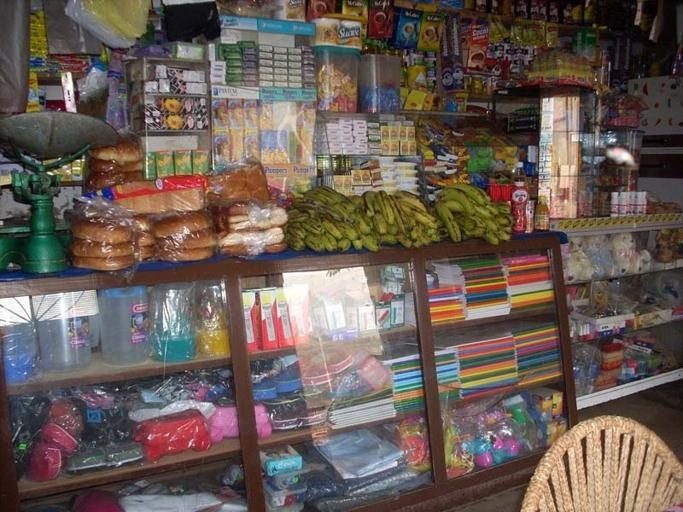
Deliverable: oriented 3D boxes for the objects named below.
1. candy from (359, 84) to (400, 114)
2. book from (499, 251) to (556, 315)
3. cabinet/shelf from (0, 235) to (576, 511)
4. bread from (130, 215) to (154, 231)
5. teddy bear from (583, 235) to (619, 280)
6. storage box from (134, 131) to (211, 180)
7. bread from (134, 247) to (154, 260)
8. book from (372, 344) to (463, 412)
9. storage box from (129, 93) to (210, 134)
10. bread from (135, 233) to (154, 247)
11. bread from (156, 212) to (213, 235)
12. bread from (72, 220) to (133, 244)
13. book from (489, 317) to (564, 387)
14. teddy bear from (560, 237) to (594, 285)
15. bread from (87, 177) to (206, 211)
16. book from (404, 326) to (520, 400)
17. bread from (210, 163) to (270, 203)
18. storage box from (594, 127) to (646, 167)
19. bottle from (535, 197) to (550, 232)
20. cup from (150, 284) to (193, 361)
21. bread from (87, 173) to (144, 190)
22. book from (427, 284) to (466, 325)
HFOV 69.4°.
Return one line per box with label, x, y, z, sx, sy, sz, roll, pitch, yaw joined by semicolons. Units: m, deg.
candy;0.306;-1.247;3.949;0.333;0.213;0.174;-4;12;-2
book;1.159;0.149;3.086;0.380;0.330;0.085;-2;-1;-18
cabinet/shelf;-0.330;0.587;2.411;1.638;0.780;0.269;-5;7;-23
bread;-0.879;-0.146;2.184;0.075;0.061;0.044;26;29;13
teddy bear;2.108;0.017;4.077;0.256;0.360;0.133;-6;-1;-17
storage box;-0.943;-0.555;2.712;0.494;0.296;0.277;-7;13;-32
bread;-0.864;-0.009;2.174;0.025;0.061;0.110;-1;12;13
book;0.439;0.674;2.816;0.348;0.408;0.141;1;-3;-8
storage box;-1.187;-1.067;3.495;0.223;0.349;0.467;27;22;4
bread;-0.866;-0.073;2.175;0.026;0.063;0.078;4;14;32
bread;-0.713;-0.143;2.217;0.153;0.046;0.137;-15;6;-42
bread;-1.026;-0.101;2.091;0.250;0.102;0.106;-2;12;10
book;1.217;0.592;3.143;0.429;0.398;0.137;0;-3;-11
teddy bear;1.905;0.018;3.952;0.222;0.387;0.134;5;-33;21
bread;-0.837;-0.276;2.209;0.401;0.114;0.202;-7;7;-10
book;0.803;0.613;2.951;0.396;0.165;0.525;-7;-2;28
bread;-0.483;-0.335;2.318;0.243;0.175;0.085;3;-21;-11
storage box;2.393;-0.909;4.316;0.397;0.357;0.384;0;7;-4
bottle;1.323;-0.283;3.275;0.083;0.204;0.264;0;13;20
cup;-0.786;0.312;2.293;0.205;0.348;0.093;-8;13;-19
bread;-1.024;-0.343;2.248;0.223;0.060;0.102;-5;2;-20
book;0.615;0.277;2.822;0.222;0.215;0.074;2;-4;-20
